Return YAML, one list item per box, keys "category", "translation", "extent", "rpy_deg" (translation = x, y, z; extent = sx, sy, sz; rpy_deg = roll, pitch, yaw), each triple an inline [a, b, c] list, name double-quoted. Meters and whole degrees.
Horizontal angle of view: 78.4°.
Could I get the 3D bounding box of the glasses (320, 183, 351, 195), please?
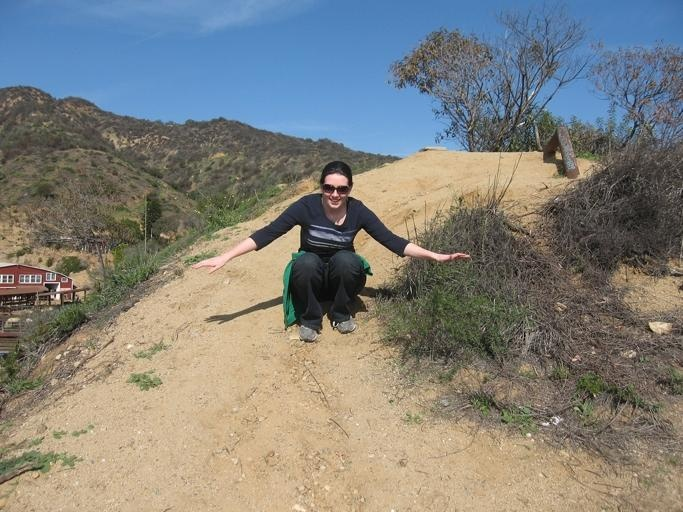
- category: "glasses"
  translation: [-0.057, -0.667, 4.135]
  extent: [0.283, 0.113, 0.113]
  rpy_deg: [-4, 16, -1]
